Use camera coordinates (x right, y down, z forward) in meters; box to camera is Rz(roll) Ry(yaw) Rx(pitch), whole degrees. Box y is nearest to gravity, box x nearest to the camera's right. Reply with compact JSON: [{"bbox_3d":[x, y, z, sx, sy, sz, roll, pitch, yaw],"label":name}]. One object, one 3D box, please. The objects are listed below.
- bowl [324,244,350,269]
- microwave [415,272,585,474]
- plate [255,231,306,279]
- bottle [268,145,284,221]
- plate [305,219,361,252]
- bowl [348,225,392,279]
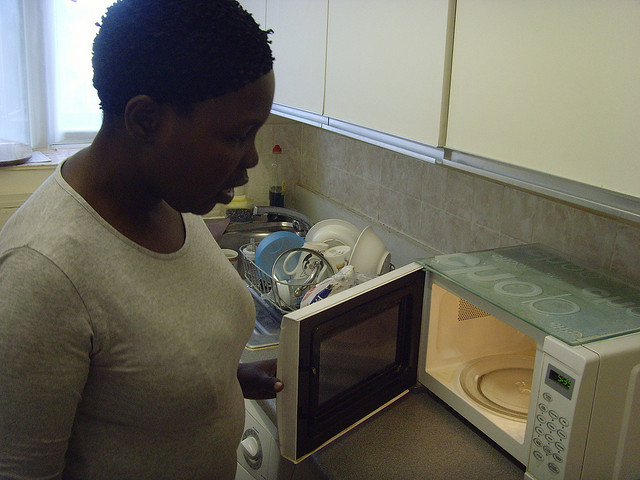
[{"bbox_3d":[0.054,0.052,1.615,0.056,0.062,0.071,-8,4,0],"label":"bowl"},{"bbox_3d":[0.387,0.297,1.148,0.221,0.245,0.336,-3,26,-34],"label":"microwave"},{"bbox_3d":[-0.132,0.056,1.748,0.152,0.159,0.046,-1,17,-36],"label":"plate"},{"bbox_3d":[-0.194,-0.255,2.450,0.093,0.423,0.093,3,10,0],"label":"bottle"},{"bbox_3d":[0.055,-0.028,1.817,0.181,0.080,0.152,7,17,37],"label":"plate"},{"bbox_3d":[0.169,0.066,1.604,0.094,0.174,0.168,19,13,23],"label":"bowl"}]
